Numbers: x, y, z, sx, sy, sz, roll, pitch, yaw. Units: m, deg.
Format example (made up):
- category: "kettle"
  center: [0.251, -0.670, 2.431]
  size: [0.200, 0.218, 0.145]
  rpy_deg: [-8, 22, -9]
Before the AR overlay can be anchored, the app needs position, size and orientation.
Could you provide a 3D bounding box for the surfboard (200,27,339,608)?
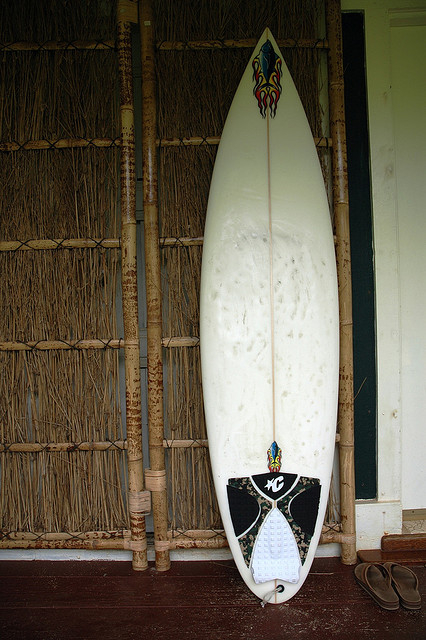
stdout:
- category: "surfboard"
  center: [0.200, -0.025, 3.490]
  size: [0.486, 2.008, 0.127]
  rpy_deg: [-1, -2, -2]
